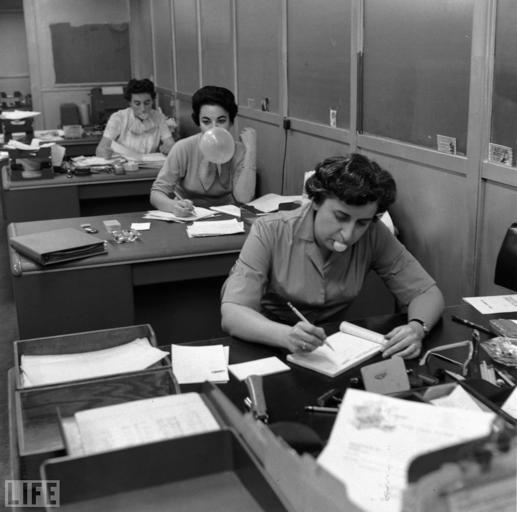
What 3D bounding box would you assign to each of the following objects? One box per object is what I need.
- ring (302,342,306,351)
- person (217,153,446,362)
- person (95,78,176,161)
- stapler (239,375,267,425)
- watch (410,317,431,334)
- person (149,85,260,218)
[{"bbox_3d":[0.124,0.245,1.260,0.012,0.017,0.012,0,8,0],"label":"ring"},{"bbox_3d":[0.231,0.169,1.543,0.495,0.861,0.543,-1,24,-15],"label":"person"},{"bbox_3d":[-1.399,-1.561,5.438,0.824,1.092,0.682,-6,25,-15],"label":"person"},{"bbox_3d":[-0.005,0.305,1.001,0.028,0.087,0.040,-2,-22,-18],"label":"stapler"},{"bbox_3d":[0.493,0.209,1.433,0.049,0.018,0.048,47,10,1],"label":"watch"},{"bbox_3d":[-0.362,-0.642,3.314,0.603,1.233,0.647,-1,18,-4],"label":"person"}]
